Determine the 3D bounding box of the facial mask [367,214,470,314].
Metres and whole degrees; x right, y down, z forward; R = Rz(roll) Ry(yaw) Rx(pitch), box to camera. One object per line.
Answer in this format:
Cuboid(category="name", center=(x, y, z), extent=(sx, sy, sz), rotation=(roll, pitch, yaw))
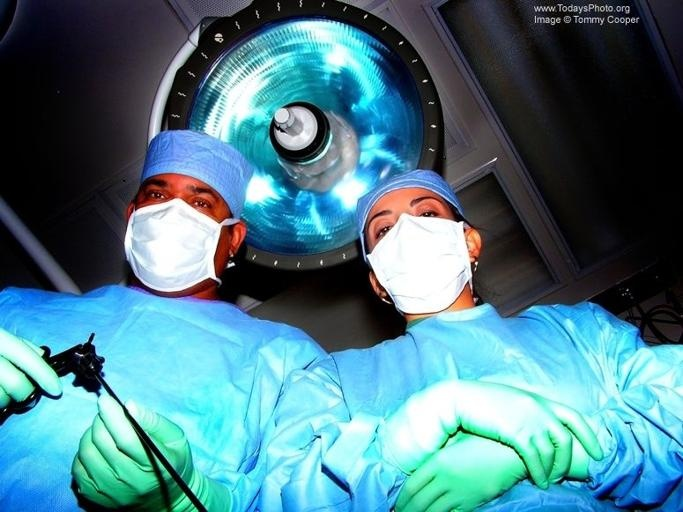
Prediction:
Cuboid(category="facial mask", center=(0.237, 0.020, 1.615), extent=(0.263, 0.226, 0.301), rotation=(0, -83, 2))
